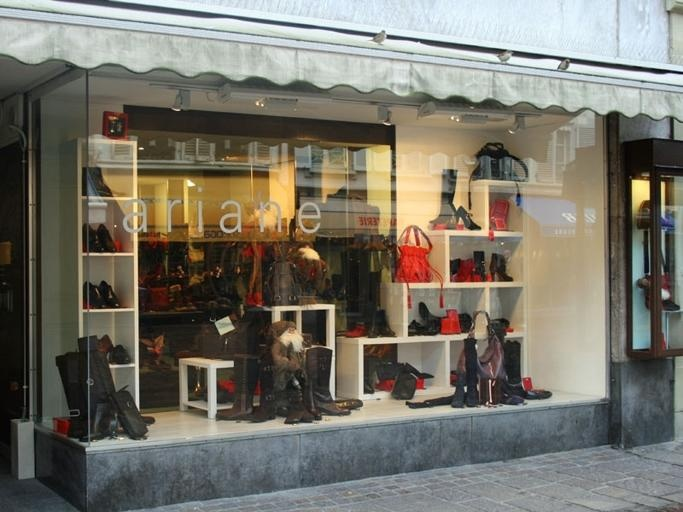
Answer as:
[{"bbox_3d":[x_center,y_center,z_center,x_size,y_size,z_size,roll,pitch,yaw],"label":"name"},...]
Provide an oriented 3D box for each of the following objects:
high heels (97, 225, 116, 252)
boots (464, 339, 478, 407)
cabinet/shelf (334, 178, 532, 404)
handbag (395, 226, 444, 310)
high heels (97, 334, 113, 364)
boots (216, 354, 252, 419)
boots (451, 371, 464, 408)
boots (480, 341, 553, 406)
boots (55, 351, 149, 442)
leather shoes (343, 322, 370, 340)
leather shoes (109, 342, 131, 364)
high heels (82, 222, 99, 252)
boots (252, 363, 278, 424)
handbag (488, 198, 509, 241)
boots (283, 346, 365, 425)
[{"bbox_3d":[-2.096,-0.144,6.714,0.103,0.270,0.098,-11,12,43],"label":"high heels"},{"bbox_3d":[1.380,1.215,8.001,0.174,0.667,0.344,2,5,9],"label":"boots"},{"bbox_3d":[0.966,0.333,7.979,2.049,2.193,0.557,-1,2,-26],"label":"cabinet/shelf"},{"bbox_3d":[0.816,0.101,8.051,0.418,0.904,0.546,0,0,-4],"label":"handbag"},{"bbox_3d":[-2.094,0.802,6.703,0.078,0.276,0.099,-11,5,-40],"label":"high heels"},{"bbox_3d":[-1.012,1.252,7.236,0.412,0.596,0.192,0,2,-28],"label":"boots"},{"bbox_3d":[1.249,1.418,8.059,0.137,0.349,0.352,12,-6,16],"label":"boots"},{"bbox_3d":[1.915,1.220,8.213,0.678,0.848,0.688,-6,-8,31],"label":"boots"},{"bbox_3d":[-2.199,1.218,6.738,0.970,0.758,0.458,5,6,27],"label":"boots"},{"bbox_3d":[0.154,0.764,7.628,0.258,0.118,0.102,5,-5,-41],"label":"leather shoes"},{"bbox_3d":[-1.988,0.883,6.750,0.111,0.129,0.189,2,4,-22],"label":"leather shoes"},{"bbox_3d":[-2.235,-0.149,6.659,0.112,0.291,0.092,-16,-2,30],"label":"high heels"},{"bbox_3d":[-0.740,1.312,7.228,0.223,0.468,0.237,1,5,-11],"label":"boots"},{"bbox_3d":[1.744,-0.425,8.380,0.207,0.364,0.242,8,-9,-3],"label":"handbag"},{"bbox_3d":[-0.227,1.260,7.539,0.703,0.699,0.547,2,-5,-32],"label":"boots"}]
